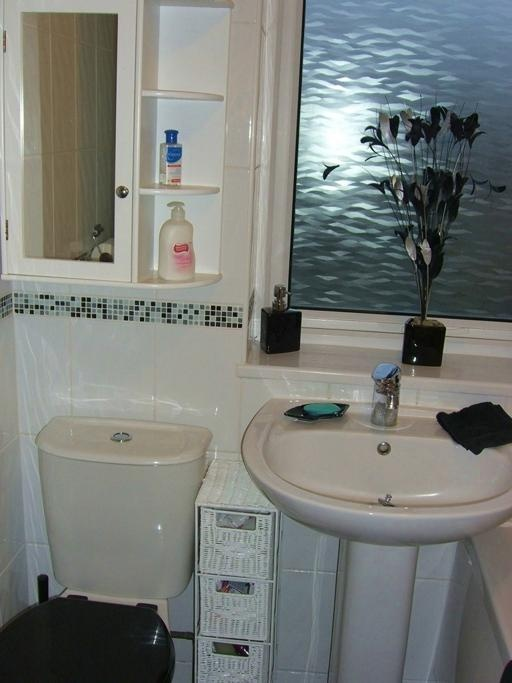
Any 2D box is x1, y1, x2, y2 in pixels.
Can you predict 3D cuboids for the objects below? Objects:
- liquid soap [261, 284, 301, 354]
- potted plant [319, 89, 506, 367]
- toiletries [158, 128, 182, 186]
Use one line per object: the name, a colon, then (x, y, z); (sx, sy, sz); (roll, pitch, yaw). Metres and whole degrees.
liquid soap: (0.063, -0.067, 1.484); (0.115, 0.187, 0.122); (-7, 20, -20)
potted plant: (0.459, -0.281, 1.461); (0.436, 0.632, 0.285); (-3, 18, -7)
toiletries: (-0.177, -0.386, 1.187); (0.047, 0.123, 0.053); (6, 24, -7)
